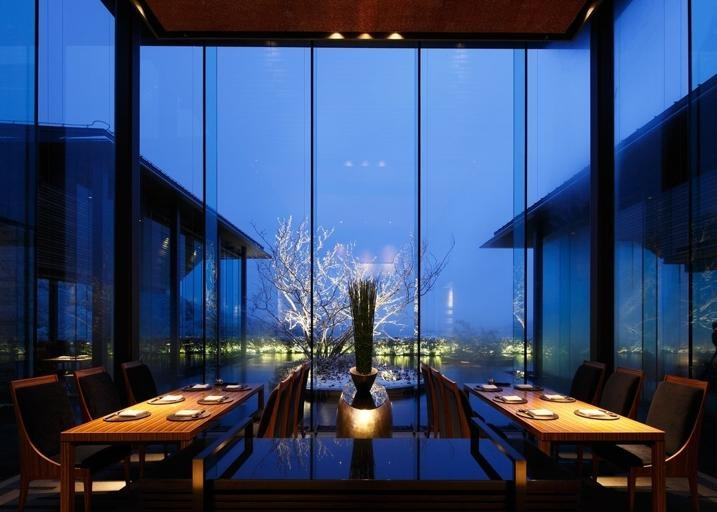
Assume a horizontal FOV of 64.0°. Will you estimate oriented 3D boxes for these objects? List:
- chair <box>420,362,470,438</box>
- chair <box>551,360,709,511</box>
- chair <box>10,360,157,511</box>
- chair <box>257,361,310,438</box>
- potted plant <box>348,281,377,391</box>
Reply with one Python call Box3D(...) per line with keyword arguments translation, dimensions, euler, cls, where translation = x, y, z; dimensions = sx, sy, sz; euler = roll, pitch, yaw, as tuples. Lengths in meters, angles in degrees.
Box3D(translation=(0.892, 1.450, 5.841), dimensions=(0.301, 0.613, 0.848), euler=(1, -7, -2), cls="chair")
Box3D(translation=(2.786, 1.729, 5.795), dimensions=(1.136, 1.805, 1.146), euler=(5, -11, -8), cls="chair")
Box3D(translation=(-2.419, 1.600, 5.669), dimensions=(1.054, 1.707, 1.090), euler=(-1, -6, 1), cls="chair")
Box3D(translation=(-0.755, 1.414, 5.693), dimensions=(0.300, 0.598, 0.884), euler=(0, -9, 7), cls="chair")
Box3D(translation=(0.035, 0.685, 4.857), dimensions=(0.225, 0.992, 0.192), euler=(-1, -4, 0), cls="potted plant")
